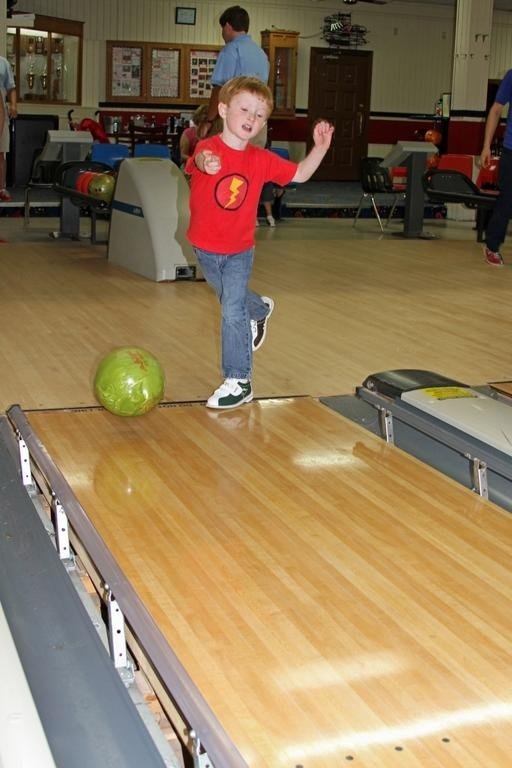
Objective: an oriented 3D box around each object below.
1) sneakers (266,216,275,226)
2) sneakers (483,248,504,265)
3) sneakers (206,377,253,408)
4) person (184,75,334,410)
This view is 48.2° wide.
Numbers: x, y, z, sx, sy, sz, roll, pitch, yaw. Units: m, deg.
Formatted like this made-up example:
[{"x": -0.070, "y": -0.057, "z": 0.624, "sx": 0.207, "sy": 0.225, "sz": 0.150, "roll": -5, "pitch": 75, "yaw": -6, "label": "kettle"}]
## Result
[{"x": 0.238, "y": -2.481, "z": 8.745, "sx": 0.075, "sy": 0.093, "sz": 0.225, "roll": -3, "pitch": 43, "yaw": -12, "label": "sneakers"}, {"x": 2.456, "y": -1.304, "z": 5.913, "sx": 0.104, "sy": 0.111, "sz": 0.261, "roll": -13, "pitch": 39, "yaw": -17, "label": "sneakers"}, {"x": -0.099, "y": 0.035, "z": 2.270, "sx": 0.211, "sy": 0.103, "sz": 0.080, "roll": -10, "pitch": 19, "yaw": -39, "label": "sneakers"}, {"x": -0.004, "y": -0.517, "z": 2.264, "sx": 0.535, "sy": 1.205, "sz": 0.534, "roll": 0, "pitch": 12, "yaw": -8, "label": "person"}]
